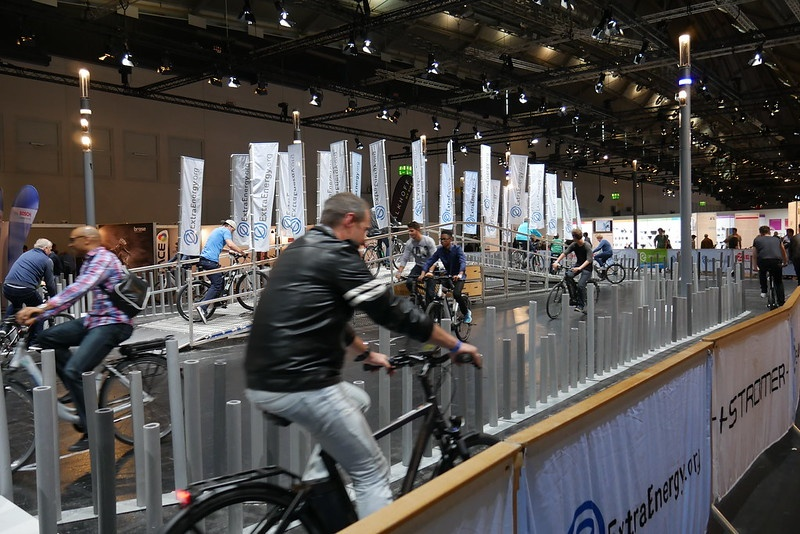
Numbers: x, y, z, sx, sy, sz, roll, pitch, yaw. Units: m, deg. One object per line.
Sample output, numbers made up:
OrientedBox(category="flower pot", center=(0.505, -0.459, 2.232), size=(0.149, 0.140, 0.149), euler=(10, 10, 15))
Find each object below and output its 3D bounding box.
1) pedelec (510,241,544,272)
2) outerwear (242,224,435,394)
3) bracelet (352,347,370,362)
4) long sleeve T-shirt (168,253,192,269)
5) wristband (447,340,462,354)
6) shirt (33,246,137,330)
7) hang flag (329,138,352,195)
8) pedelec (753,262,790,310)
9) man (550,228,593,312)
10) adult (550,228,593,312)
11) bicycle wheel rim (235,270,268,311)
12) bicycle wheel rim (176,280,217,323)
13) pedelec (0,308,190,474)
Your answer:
OrientedBox(category="pedelec", center=(4.528, -0.349, 21.941), size=(0.847, 1.155, 1.807), euler=(-2, -4, 27))
OrientedBox(category="outerwear", center=(-0.476, 0.331, 4.887), size=(1.328, 1.325, 1.016), euler=(2, 5, -29))
OrientedBox(category="bracelet", center=(-0.330, 0.792, 5.410), size=(0.115, 0.079, 0.116), euler=(-32, -16, -19))
OrientedBox(category="long sleeve T-shirt", center=(-5.702, -0.142, 15.734), size=(0.171, 0.378, 0.366), euler=(22, 8, 14))
OrientedBox(category="wristband", center=(0.460, 0.678, 5.080), size=(0.037, 0.106, 0.093), euler=(31, 44, 4))
OrientedBox(category="shirt", center=(-3.508, 0.276, 6.993), size=(0.966, 1.053, 0.740), euler=(1, -6, -17))
OrientedBox(category="hang flag", center=(-1.612, -2.757, 16.544), size=(0.496, 1.427, 1.554), euler=(-1, 2, -10))
OrientedBox(category="pedelec", center=(9.388, 0.502, 15.334), size=(0.730, 1.020, 1.653), euler=(-10, -12, 14))
OrientedBox(category="man", center=(4.210, 0.065, 14.647), size=(0.832, 1.932, 2.520), euler=(0, 3, 16))
OrientedBox(category="adult", center=(4.231, 0.061, 14.720), size=(0.802, 1.932, 2.672), euler=(0, 3, 15))
OrientedBox(category="bicycle wheel rim", center=(-3.043, 0.475, 12.339), size=(0.140, 0.737, 0.732), euler=(16, 2, 31))
OrientedBox(category="bicycle wheel rim", center=(-4.480, 0.742, 13.059), size=(0.840, 0.917, 0.203), euler=(-1, -4, -9))
OrientedBox(category="pedelec", center=(-3.464, 1.438, 7.718), size=(2.770, 1.820, 1.375), euler=(0, -2, -32))
